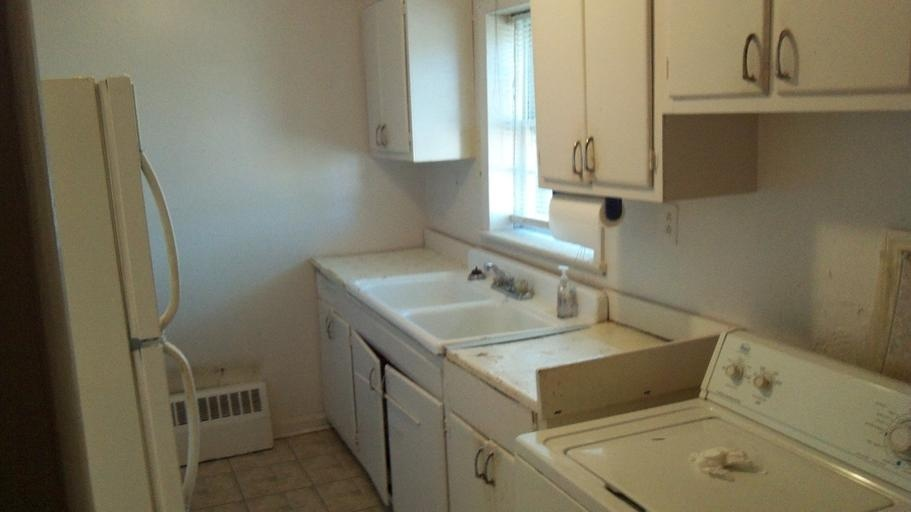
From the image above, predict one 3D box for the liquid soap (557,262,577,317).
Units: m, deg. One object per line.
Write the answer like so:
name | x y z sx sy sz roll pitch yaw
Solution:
liquid soap | 0.530 0.186 3.165 0.094 0.202 0.128 3 18 24
